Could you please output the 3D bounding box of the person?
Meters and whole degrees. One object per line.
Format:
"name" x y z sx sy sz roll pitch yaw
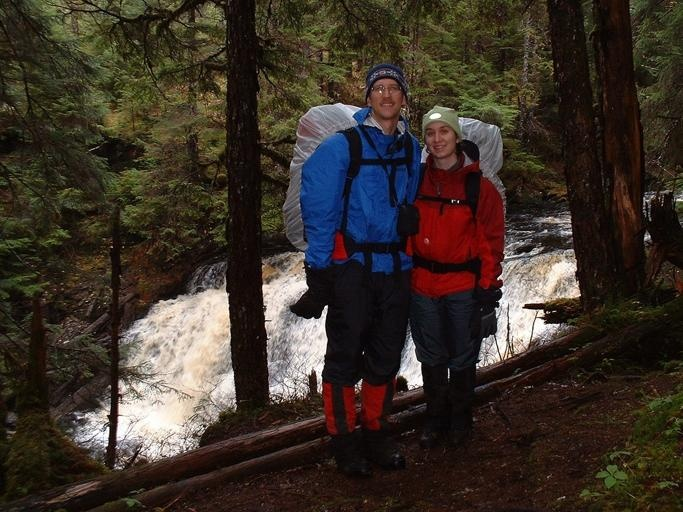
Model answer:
"person" 0.224 0.162 4.707 1.275 3.782 0.538 -12 11 -28

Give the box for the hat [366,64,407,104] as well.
"hat" 0.426 -1.649 4.785 0.282 0.283 0.362 1 7 9

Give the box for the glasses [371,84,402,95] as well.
"glasses" 0.423 -1.549 4.643 0.263 0.110 0.061 -7 10 -1

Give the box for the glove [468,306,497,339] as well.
"glove" 1.386 0.645 4.933 0.265 0.346 0.178 -7 27 -18

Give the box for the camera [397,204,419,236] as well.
"camera" 0.618 -0.363 4.716 0.180 0.338 0.238 4 23 17
